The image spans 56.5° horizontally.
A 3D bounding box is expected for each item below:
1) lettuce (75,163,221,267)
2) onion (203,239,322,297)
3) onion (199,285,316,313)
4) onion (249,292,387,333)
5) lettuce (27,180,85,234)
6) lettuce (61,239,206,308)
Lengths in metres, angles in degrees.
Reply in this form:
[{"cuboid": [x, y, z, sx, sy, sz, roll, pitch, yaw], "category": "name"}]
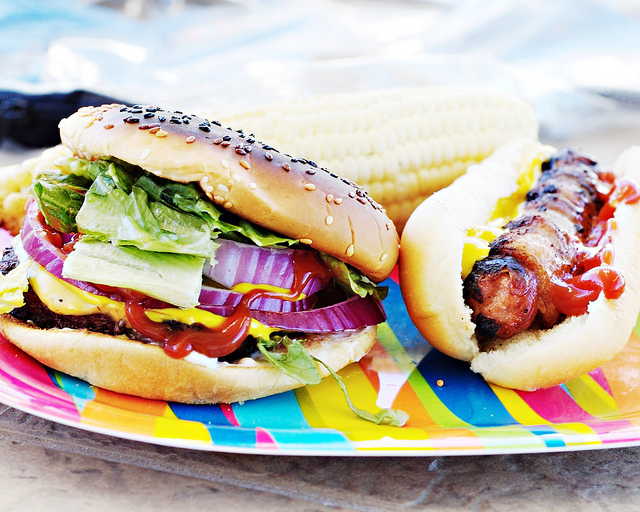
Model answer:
[{"cuboid": [-0.520, -0.110, 1.728, 0.437, 0.130, 0.221, 7, 54, -1], "category": "lettuce"}, {"cuboid": [-0.165, 0.032, 1.847, 0.293, 0.111, 0.071, 8, -1, -21], "category": "onion"}, {"cuboid": [-0.208, 0.142, 1.853, 0.201, 0.036, 0.136, 14, -5, -24], "category": "onion"}, {"cuboid": [0.001, 0.172, 2.093, 0.529, 0.117, 0.258, -5, 12, -12], "category": "onion"}, {"cuboid": [-0.813, -0.158, 1.865, 0.228, 0.128, 0.054, 31, -15, -22], "category": "lettuce"}, {"cuboid": [-0.533, 0.047, 1.731, 0.392, 0.139, 0.118, 8, 31, -2], "category": "lettuce"}]
